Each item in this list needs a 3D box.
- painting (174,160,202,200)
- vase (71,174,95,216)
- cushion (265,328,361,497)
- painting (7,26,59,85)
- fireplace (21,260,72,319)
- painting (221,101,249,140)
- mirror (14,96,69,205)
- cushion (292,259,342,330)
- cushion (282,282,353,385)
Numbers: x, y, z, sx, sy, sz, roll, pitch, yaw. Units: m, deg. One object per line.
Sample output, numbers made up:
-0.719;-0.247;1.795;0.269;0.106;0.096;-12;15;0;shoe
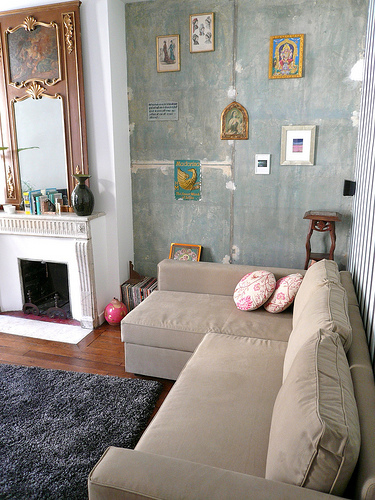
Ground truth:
0.010;-0.679;3.614;0.333;0.466;0.046;3;8;21;painting
-0.930;-0.502;3.413;0.239;0.350;0.247;4;18;5;vase
0.350;0.444;1.054;0.120;0.217;0.378;12;16;12;cushion
-1.355;-1.773;3.451;0.487;0.509;0.038;9;24;19;painting
-1.391;0.379;3.794;0.458;0.458;0.256;5;12;21;fireplace
0.415;-1.147;3.356;0.310;0.450;0.032;2;11;16;painting
-1.370;-1.047;3.623;0.657;1.311;0.043;-8;-23;-14;mirror
0.776;0.186;2.179;0.105;0.368;0.353;14;33;7;cushion
0.516;0.323;1.524;0.127;0.266;0.375;17;18;18;cushion
